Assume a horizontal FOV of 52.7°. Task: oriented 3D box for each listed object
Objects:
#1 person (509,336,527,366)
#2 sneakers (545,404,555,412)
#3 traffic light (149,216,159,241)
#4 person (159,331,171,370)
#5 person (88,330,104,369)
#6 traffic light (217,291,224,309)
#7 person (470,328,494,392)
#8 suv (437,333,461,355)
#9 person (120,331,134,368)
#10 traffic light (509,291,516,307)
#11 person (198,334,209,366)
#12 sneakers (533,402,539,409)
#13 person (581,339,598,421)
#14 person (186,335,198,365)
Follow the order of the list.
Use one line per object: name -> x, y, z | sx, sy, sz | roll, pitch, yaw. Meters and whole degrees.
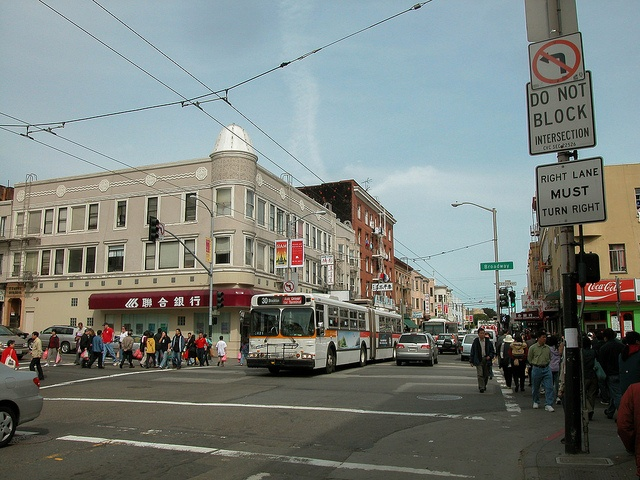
person -> 6.609, 3.741, 21.624 | 0.528, 0.955, 0.436 | -1, -4, 20
sneakers -> 6.168, 4.520, 17.349 | 0.225, 0.157, 0.437 | -1, -4, 19
traffic light -> -8.236, -0.560, 31.926 | 0.438, 1.181, 1.270 | 1, -4, -12
person -> -7.407, 5.242, 30.610 | 0.472, 1.648, 1.175 | 1, -4, -12
person -> -10.290, 5.027, 29.562 | 0.632, 1.725, 1.355 | 2, -4, -19
traffic light -> -5.742, 3.408, 36.946 | 0.310, 0.942, 0.690 | 2, -4, -17
person -> 5.330, 3.941, 21.204 | 0.702, 2.095, 1.132 | -1, -4, 24
suv -> 11.013, 8.989, 55.511 | 1.717, 1.601, 3.166 | -1, -1, 13
person -> -9.142, 5.255, 30.512 | 0.651, 1.551, 2.116 | 2, -4, -17
traffic light -> 11.344, 3.522, 38.211 | 0.272, 0.966, 2.097 | 0, -4, 15
person -> -6.136, 5.673, 33.544 | 0.633, 1.627, 1.160 | 1, -4, -11
sneakers -> 5.949, 4.581, 17.824 | 0.168, 0.166, 0.271 | -1, -4, 21
person -> 6.617, 3.390, 15.767 | 0.298, 1.992, 1.165 | -1, -4, 23
person -> -6.690, 5.748, 33.738 | 0.513, 1.536, 1.594 | 1, -4, -12
